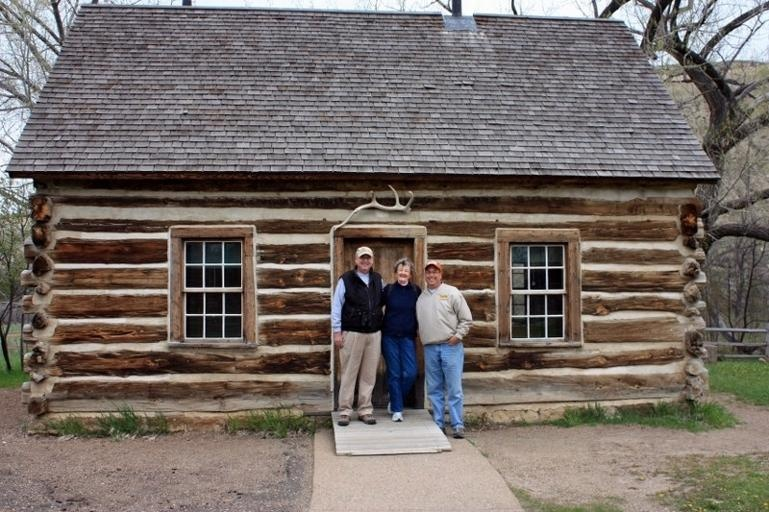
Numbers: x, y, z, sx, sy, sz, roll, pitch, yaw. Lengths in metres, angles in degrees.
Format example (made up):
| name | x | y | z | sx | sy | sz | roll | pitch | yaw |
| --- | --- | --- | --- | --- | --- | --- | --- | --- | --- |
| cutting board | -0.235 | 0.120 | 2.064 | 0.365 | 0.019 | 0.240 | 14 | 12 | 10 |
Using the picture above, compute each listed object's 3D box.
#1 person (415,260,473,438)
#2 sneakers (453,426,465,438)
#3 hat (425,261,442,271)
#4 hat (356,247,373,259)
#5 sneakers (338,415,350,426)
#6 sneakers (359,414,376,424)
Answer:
| name | x | y | z | sx | sy | sz | roll | pitch | yaw |
| --- | --- | --- | --- | --- | --- | --- | --- | --- | --- |
| person | 1.002 | 1.408 | 10.850 | 0.657 | 2.593 | 0.987 | -11 | 19 | -35 |
| sneakers | 1.158 | 2.712 | 10.724 | 0.169 | 0.147 | 0.144 | -3 | 15 | -9 |
| hat | 0.777 | 0.145 | 10.890 | 0.250 | 0.156 | 0.196 | -1 | 14 | -4 |
| hat | -0.300 | -0.053 | 10.857 | 0.206 | 0.107 | 0.287 | 1 | -3 | -7 |
| sneakers | -0.603 | 2.505 | 10.698 | 0.229 | 0.141 | 0.178 | -4 | 15 | -14 |
| sneakers | -0.250 | 2.498 | 10.759 | 0.295 | 0.141 | 0.206 | 0 | 14 | 0 |
